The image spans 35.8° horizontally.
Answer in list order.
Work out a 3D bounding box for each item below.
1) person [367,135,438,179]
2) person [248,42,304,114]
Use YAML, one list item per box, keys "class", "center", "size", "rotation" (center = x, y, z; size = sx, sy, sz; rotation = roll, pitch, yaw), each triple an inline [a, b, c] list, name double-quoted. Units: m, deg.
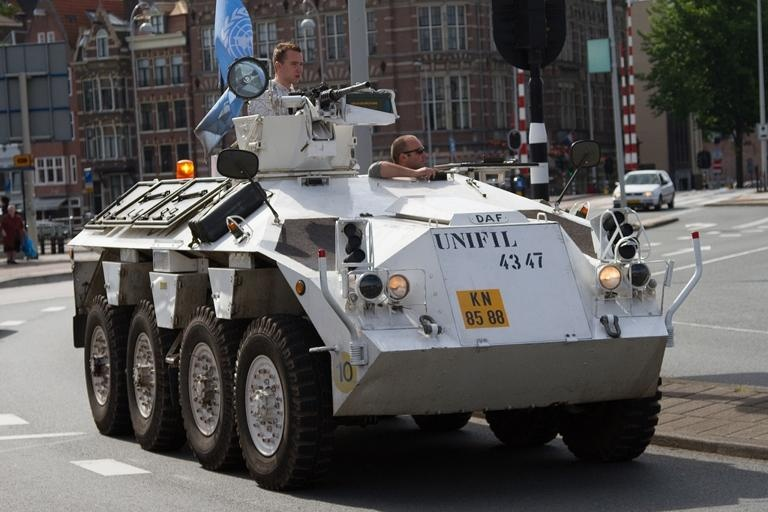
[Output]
- class: "person"
  center: [0.230, -1.078, 12.503]
  size: [0.860, 0.398, 0.698]
  rotation: [-2, 12, 11]
- class: "person"
  center: [-1.058, -1.906, 12.793]
  size: [0.326, 0.813, 0.698]
  rotation: [11, 17, 29]
